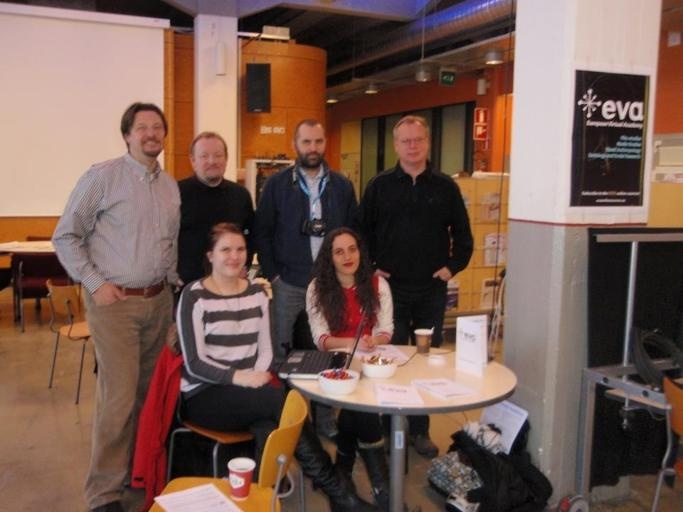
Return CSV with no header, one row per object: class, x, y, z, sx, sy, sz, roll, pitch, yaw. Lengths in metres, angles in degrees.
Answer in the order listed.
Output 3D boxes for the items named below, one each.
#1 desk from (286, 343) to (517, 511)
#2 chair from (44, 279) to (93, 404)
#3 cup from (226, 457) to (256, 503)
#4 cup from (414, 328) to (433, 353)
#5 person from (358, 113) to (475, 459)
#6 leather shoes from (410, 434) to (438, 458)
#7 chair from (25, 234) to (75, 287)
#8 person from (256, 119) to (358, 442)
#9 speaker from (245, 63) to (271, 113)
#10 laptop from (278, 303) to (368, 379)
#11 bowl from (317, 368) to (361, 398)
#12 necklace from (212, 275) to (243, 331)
desk,0.378,1.012,2.937,1.107,0.818,0.676,-6,12,-31
chair,-2.426,0.811,5.440,0.515,1.018,0.600,5,5,34
cup,-0.424,0.943,2.416,0.146,0.148,0.146,1,-5,0
cup,0.490,0.499,3.326,0.126,0.116,0.123,-1,-3,0
person,0.526,0.244,4.094,0.814,2.391,0.688,0,6,27
leather shoes,0.572,1.324,3.968,0.107,0.047,0.149,0,15,-20
chair,-2.915,0.096,5.675,0.408,0.750,0.503,0,38,-29
person,-0.259,0.168,4.425,0.788,2.498,0.715,-6,37,-16
speaker,-1.308,-2.642,8.955,0.378,0.742,0.176,-2,10,-9
laptop,-0.116,0.470,3.021,0.487,0.257,0.502,-4,9,-28
bowl,-0.013,0.610,2.770,0.184,0.095,0.163,0,10,2
necklace,-0.648,0.283,3.223,0.207,0.289,0.108,-9,-2,-23
